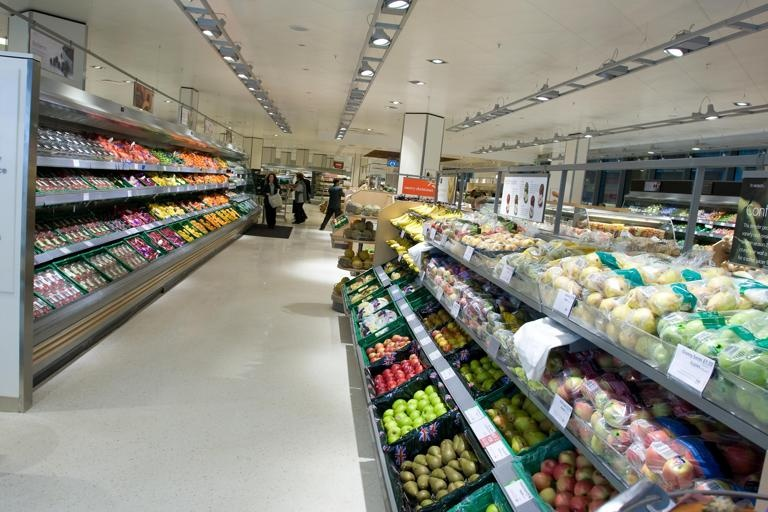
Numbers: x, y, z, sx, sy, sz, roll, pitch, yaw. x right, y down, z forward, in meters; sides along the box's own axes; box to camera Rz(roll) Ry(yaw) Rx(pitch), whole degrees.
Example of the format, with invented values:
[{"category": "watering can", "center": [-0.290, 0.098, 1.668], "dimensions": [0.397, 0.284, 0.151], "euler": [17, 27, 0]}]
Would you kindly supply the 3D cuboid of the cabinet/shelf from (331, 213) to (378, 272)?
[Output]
[{"category": "cabinet/shelf", "center": [-0.443, -0.247, 6.588], "dimensions": [0.826, 1.055, 0.848], "euler": [1, 9, -1]}]
